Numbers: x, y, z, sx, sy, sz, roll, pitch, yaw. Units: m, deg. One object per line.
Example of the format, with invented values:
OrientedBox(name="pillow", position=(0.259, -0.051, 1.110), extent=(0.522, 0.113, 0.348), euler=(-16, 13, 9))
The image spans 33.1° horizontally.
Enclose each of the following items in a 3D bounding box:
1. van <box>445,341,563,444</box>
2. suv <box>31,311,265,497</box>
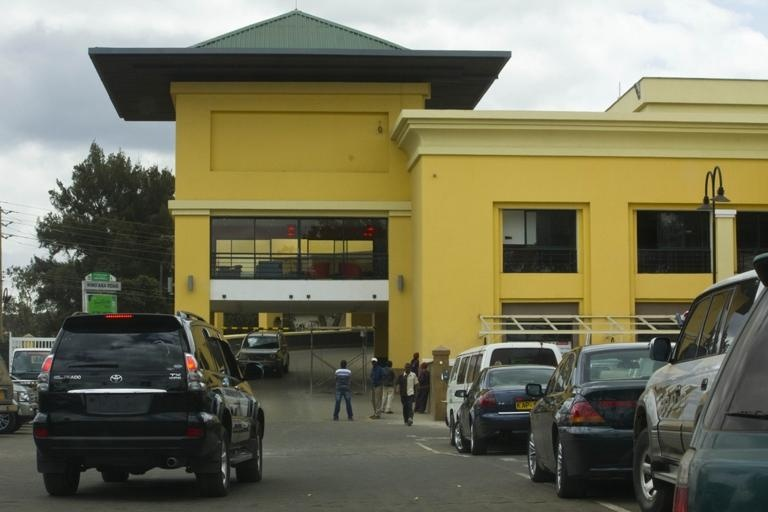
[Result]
OrientedBox(name="van", position=(3.076, 3.588, 37.231), extent=(2.086, 1.983, 4.022), euler=(0, -2, -7))
OrientedBox(name="suv", position=(-4.938, 3.094, 26.802), extent=(4.462, 3.864, 2.013), euler=(3, -4, -16))
